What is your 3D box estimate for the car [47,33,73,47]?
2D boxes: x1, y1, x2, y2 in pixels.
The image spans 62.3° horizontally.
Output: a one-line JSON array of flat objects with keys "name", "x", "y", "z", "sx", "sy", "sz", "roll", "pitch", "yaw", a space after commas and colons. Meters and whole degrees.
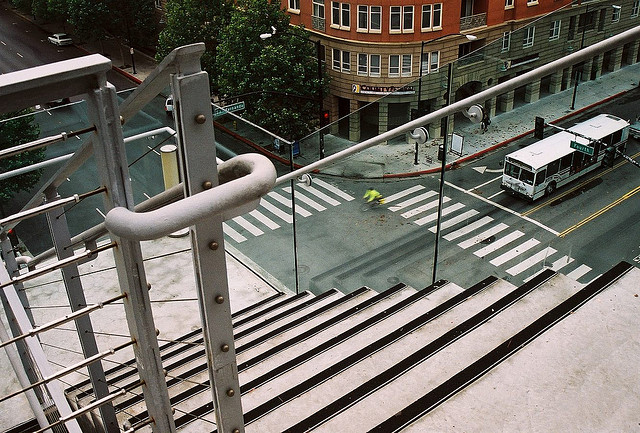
[{"name": "car", "x": -21.338, "y": -14.639, "z": 43.363, "sx": 2.134, "sy": 0.795, "sz": 1.219, "roll": 30, "pitch": 49, "yaw": 30}]

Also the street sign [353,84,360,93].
[{"name": "street sign", "x": 1.779, "y": -6.172, "z": 25.384, "sx": 0.385, "sy": 0.355, "sz": 0.039, "roll": 25, "pitch": 40, "yaw": 36}]
